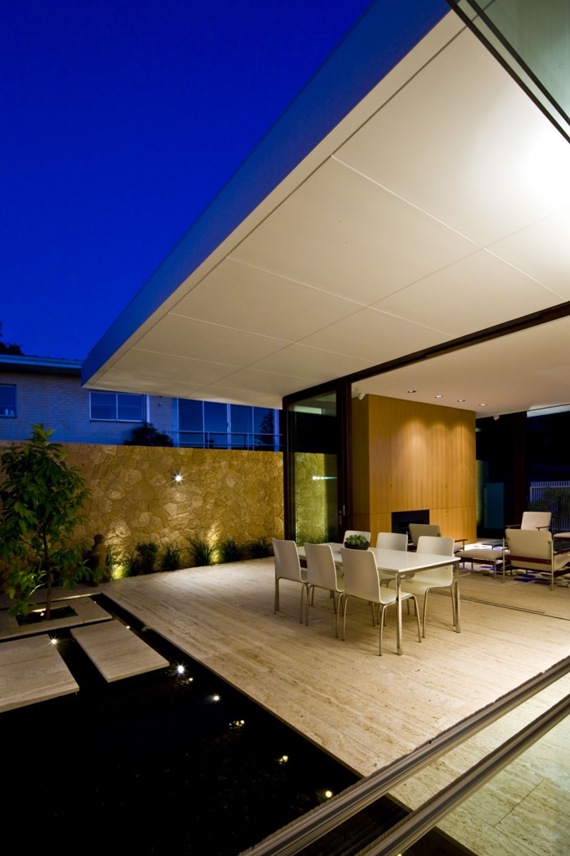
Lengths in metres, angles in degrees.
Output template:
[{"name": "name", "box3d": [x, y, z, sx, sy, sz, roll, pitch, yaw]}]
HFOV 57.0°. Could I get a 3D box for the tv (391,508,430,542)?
[{"name": "tv", "box3d": [1.968, 1.671, 8.306, 0.375, 0.809, 0.748, -12, -17, 41]}]
